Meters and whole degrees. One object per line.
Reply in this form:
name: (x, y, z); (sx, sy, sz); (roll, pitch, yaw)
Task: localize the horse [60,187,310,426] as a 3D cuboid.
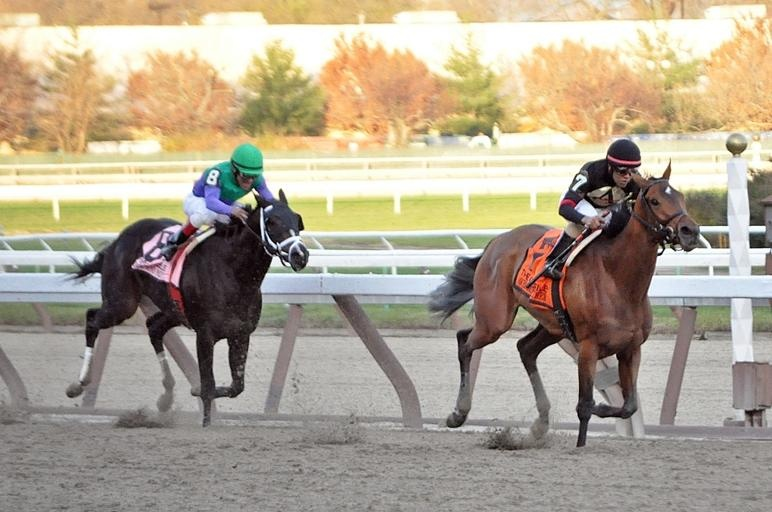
horse: (-2.238, 0.622, 15.701); (4.202, 2.569, 1.038); (1, -1, 45)

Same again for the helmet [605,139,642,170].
helmet: (2.441, -1.042, 14.430); (0.300, 0.271, 0.347); (8, 27, -5)

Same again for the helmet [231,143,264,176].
helmet: (-1.510, -1.067, 15.151); (0.375, 0.218, 0.459); (7, 17, -24)

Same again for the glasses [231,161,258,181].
glasses: (-1.519, -0.907, 15.058); (0.198, 0.094, 0.240); (10, 13, -27)

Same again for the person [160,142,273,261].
person: (-1.795, -0.575, 15.383); (1.238, 1.376, 0.994); (-4, 31, -40)
